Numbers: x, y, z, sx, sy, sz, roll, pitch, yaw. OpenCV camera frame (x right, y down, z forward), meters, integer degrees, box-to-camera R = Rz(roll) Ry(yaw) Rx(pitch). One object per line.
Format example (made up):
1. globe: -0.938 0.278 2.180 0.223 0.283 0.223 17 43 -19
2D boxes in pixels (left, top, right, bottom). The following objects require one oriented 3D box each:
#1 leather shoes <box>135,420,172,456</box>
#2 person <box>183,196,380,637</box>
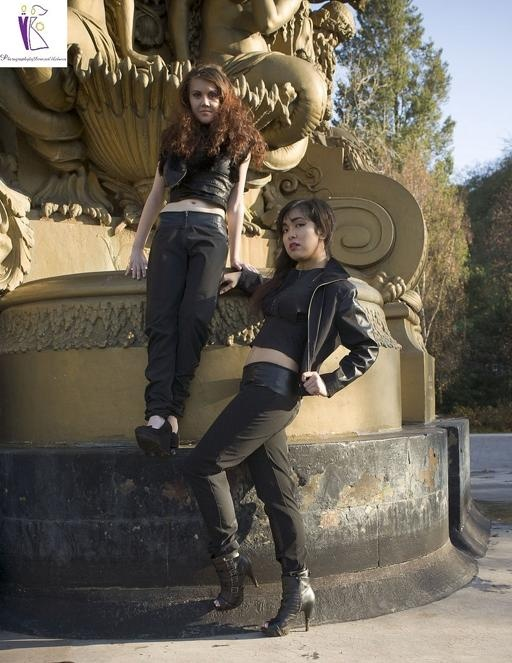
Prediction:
1. leather shoes: -0.430 0.460 4.410 0.139 0.156 0.158 4 4 6
2. person: 0.045 0.332 4.418 0.750 1.848 0.567 1 6 -38
